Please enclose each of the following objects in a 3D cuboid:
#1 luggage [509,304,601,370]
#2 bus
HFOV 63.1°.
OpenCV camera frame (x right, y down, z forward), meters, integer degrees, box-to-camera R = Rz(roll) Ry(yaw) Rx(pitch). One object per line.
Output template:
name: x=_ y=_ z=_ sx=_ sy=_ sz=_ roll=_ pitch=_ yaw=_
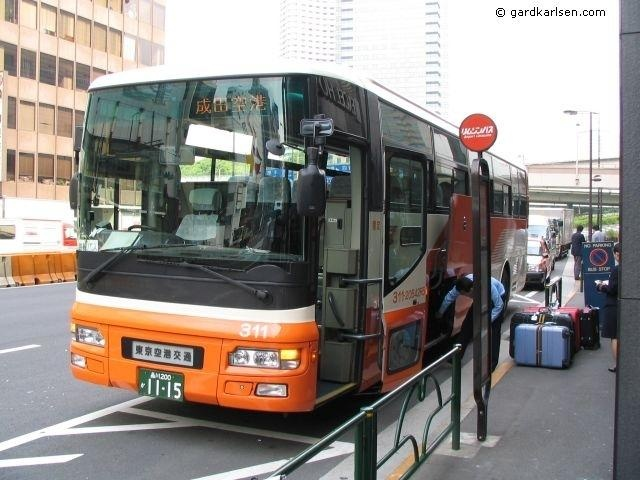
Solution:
luggage: x=4.190 y=1.679 z=9.313 sx=0.926 sy=0.651 sz=1.537 roll=0 pitch=0 yaw=33
bus: x=-0.275 y=-0.061 z=6.196 sx=4.725 sy=3.924 sz=2.472 roll=-1 pitch=2 yaw=-34
